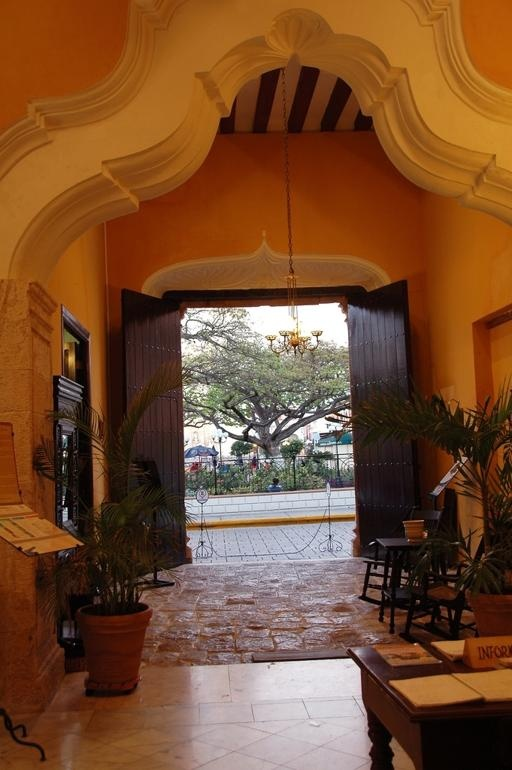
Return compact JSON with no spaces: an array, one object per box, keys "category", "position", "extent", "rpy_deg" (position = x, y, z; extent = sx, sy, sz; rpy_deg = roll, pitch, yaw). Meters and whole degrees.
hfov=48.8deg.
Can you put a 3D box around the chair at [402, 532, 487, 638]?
[{"category":"chair","position":[1.278,1.385,3.927],"extent":[0.537,0.720,0.496],"rpy_deg":[7,-2,-1]}]

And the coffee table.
[{"category":"coffee table","position":[1.125,1.659,4.785],"extent":[0.386,0.589,0.484],"rpy_deg":[17,-14,-21]}]

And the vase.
[{"category":"vase","position":[-0.932,0.883,3.593],"extent":[1.049,1.889,0.872],"rpy_deg":[-1,-11,-28]}]

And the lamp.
[{"category":"lamp","position":[0.593,-1.982,7.616],"extent":[0.765,3.657,2.303],"rpy_deg":[6,0,5]}]
